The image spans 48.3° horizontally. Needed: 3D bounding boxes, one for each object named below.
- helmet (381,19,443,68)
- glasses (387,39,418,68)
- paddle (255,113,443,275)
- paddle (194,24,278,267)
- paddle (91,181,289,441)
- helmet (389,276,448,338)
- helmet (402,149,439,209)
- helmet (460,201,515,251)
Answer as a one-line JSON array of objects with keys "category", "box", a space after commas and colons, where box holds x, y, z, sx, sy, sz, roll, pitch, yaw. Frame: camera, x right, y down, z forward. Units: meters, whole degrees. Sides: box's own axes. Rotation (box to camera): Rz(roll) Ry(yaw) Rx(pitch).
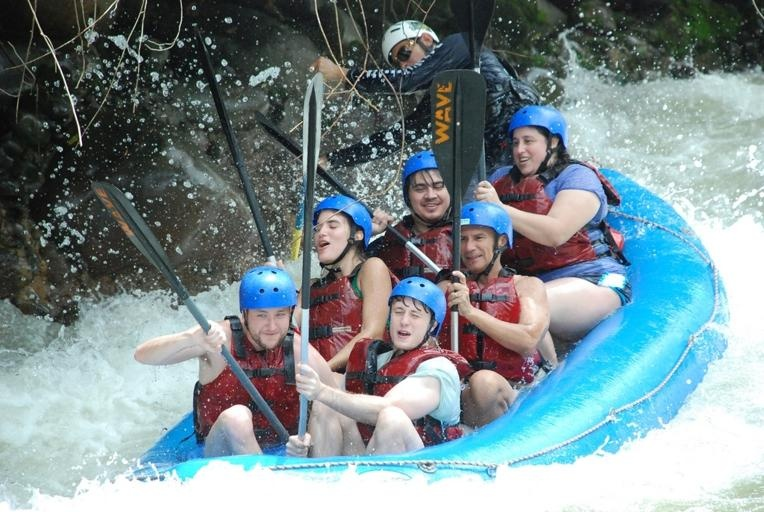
[{"category": "helmet", "box": [0.281, -2.059, 8.087, 0.481, 0.411, 0.357, 11, -33, -21]}, {"category": "glasses", "box": [0.198, -1.911, 7.998, 0.250, 0.124, 0.190, -55, 7, 13]}, {"category": "paddle", "box": [-0.312, -0.532, 7.679, 0.097, 2.399, 0.210, -48, 2, 3]}, {"category": "paddle", "box": [-1.534, -1.184, 8.762, 0.191, 2.686, 0.139, -16, 0, -9]}, {"category": "paddle", "box": [-1.208, 0.391, 5.534, 0.842, 1.972, 0.452, -7, 13, 25]}, {"category": "helmet", "box": [0.278, 0.331, 5.999, 0.330, 0.384, 0.412, 19, 11, 18]}, {"category": "helmet", "box": [0.285, -0.702, 6.922, 0.293, 0.417, 0.423, -5, 47, -10]}, {"category": "helmet", "box": [0.800, -0.254, 6.507, 0.282, 0.305, 0.380, 12, 20, 32]}]
